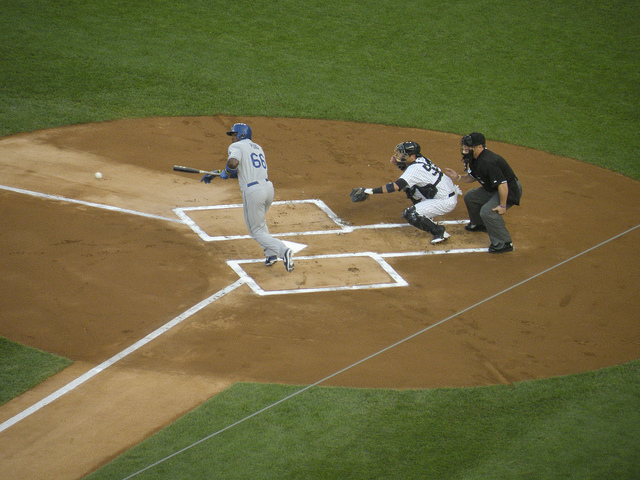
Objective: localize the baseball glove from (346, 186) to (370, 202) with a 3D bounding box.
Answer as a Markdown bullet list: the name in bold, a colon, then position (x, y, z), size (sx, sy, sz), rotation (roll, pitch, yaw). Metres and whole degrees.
- **baseball glove**: position (0.776, -0.799, 14.505), size (0.430, 0.104, 0.368), rotation (8, 22, 20)

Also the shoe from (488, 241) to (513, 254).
- **shoe**: position (3.191, 0.143, 13.937), size (0.452, 0.153, 0.176), rotation (-1, 22, -7)

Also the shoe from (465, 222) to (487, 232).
- **shoe**: position (2.888, -0.261, 14.697), size (0.392, 0.154, 0.142), rotation (11, 38, 6)

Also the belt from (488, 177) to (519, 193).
- **belt**: position (3.226, -0.976, 14.066), size (0.305, 0.244, 0.266), rotation (-18, 10, -17)

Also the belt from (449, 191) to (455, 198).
- **belt**: position (2.395, -0.843, 14.460), size (0.117, 0.070, 0.112), rotation (7, 21, 35)

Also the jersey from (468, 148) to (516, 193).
- **jersey**: position (3.092, -1.255, 14.266), size (0.635, 0.763, 1.071), rotation (-31, 7, -7)

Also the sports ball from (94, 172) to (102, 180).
- **sports ball**: position (-4.265, -1.241, 15.307), size (0.149, 0.137, 0.126), rotation (7, 24, -5)

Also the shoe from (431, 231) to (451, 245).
- **shoe**: position (2.190, -0.045, 14.244), size (0.494, 0.169, 0.143), rotation (-19, 7, -33)
